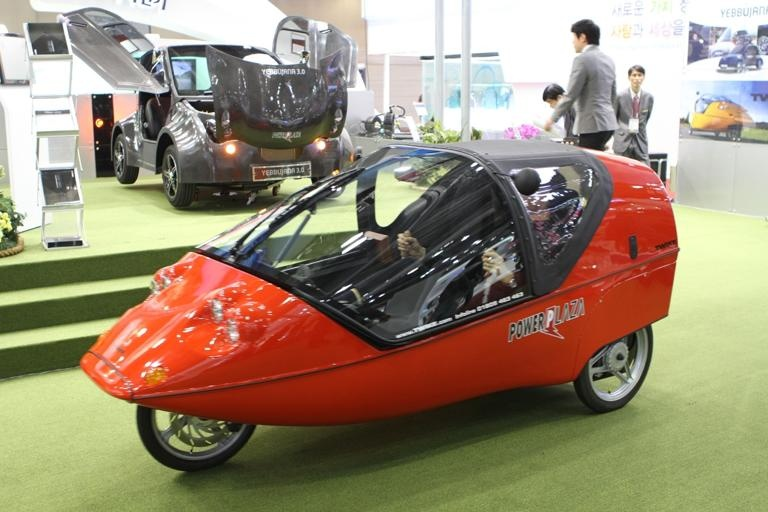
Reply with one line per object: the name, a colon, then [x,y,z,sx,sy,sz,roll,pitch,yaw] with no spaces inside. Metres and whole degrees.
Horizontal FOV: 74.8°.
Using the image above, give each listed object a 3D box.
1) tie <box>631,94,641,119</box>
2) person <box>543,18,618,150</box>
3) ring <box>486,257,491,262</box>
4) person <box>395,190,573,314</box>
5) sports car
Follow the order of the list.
tie: [3.674,-2.192,7.313,0.196,0.305,0.105,-12,19,-29]
person: [2.029,-1.719,5.066,0.988,1.296,0.431,-10,19,-26]
ring: [0.512,0.013,2.455,0.024,0.015,0.005,-10,6,-2]
person: [0.537,-0.132,2.608,0.888,0.478,0.539,4,17,19]
sports car: [-2.163,-1.654,6.326,3.171,1.628,3.033,-7,12,-37]
